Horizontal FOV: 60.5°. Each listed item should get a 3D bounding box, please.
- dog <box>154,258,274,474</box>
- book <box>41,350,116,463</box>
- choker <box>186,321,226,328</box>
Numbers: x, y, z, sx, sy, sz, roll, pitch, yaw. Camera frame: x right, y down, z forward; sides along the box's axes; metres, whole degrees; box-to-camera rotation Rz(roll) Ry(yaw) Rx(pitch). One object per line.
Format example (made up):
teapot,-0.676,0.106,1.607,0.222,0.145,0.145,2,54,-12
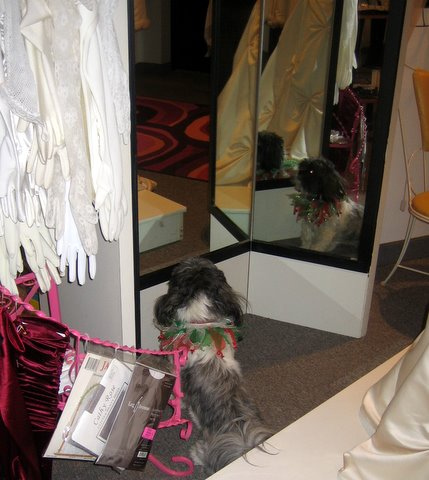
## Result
dog,-0.026,0.244,1.237,0.259,0.449,0.809,-13,71,-10
book,-0.278,0.345,0.818,0.041,0.245,0.248,3,65,10
choker,-0.027,0.261,1.136,0.120,0.028,0.010,1,23,-8
